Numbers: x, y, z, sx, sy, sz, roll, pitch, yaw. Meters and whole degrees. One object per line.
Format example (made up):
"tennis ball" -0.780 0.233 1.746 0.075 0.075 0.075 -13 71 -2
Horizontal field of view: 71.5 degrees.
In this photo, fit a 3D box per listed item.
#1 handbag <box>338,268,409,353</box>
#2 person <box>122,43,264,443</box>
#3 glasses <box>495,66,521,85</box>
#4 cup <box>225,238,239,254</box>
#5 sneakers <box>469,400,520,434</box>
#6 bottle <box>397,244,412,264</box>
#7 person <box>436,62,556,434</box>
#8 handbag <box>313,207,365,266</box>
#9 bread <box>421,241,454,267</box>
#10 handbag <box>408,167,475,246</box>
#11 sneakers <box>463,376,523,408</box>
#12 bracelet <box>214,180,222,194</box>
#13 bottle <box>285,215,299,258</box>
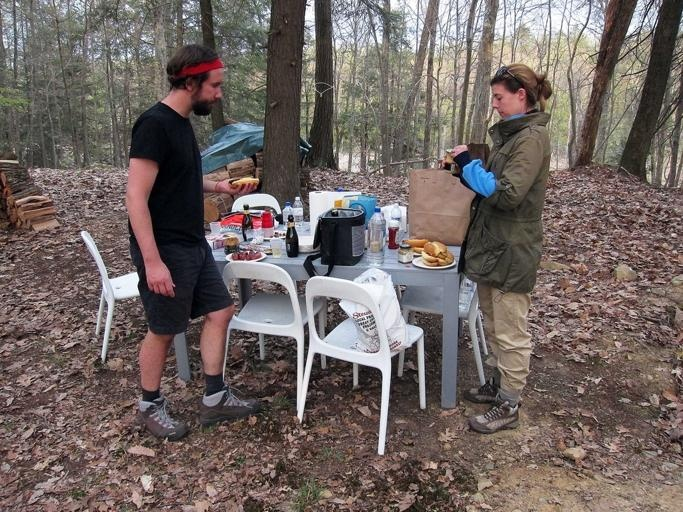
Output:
"handbag" 0.253 0.447 3.617 0.431 0.592 0.363 16 24 34
"person" -1.225 -0.043 3.558 0.819 2.882 0.684 -6 22 -21
"glasses" 1.207 -1.324 3.466 0.160 0.047 0.127 32 -16 -31
"cup" -0.984 -0.092 4.327 0.138 0.137 0.125 -3 1 0
"sneakers" 1.190 1.247 3.806 0.483 0.240 0.173 -9 23 -4
"bottle" 0.530 -0.031 3.933 0.133 0.181 0.134 -2 16 0
"person" 1.262 -0.036 3.668 0.682 2.708 0.856 -6 22 -21
"handbag" 0.035 -0.179 3.969 0.428 0.371 0.476 2 21 12
"bread" 0.765 -0.004 3.836 0.185 0.098 0.222 7 14 2
"handbag" 0.839 -0.408 3.880 0.564 0.703 0.268 5 37 7
"sneakers" 1.231 1.141 3.911 0.528 0.224 0.181 1 9 13
"bracelet" -1.053 -0.600 4.063 0.024 0.086 0.081 7 45 -31
"bottle" -0.423 -0.183 4.085 0.118 0.378 0.216 0 20 -7
